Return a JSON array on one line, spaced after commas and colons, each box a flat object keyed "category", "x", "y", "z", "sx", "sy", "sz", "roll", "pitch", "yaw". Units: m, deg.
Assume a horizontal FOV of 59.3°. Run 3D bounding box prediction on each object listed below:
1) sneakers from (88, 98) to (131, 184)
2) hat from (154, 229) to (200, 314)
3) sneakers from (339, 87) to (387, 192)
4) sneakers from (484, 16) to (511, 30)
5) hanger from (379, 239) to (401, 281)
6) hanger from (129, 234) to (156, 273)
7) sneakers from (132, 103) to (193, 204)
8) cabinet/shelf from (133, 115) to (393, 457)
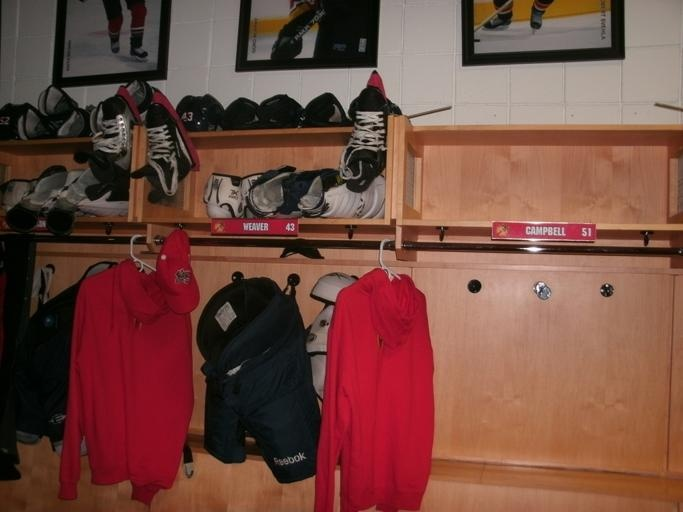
[{"category": "sneakers", "x": -1.048, "y": -0.538, "z": 2.786, "sx": 0.139, "sy": 0.453, "sz": 0.173, "roll": 5, "pitch": 11, "yaw": 17}, {"category": "hat", "x": -0.723, "y": 0.074, "z": 2.643, "sx": 0.179, "sy": 0.375, "sz": 0.139, "roll": 0, "pitch": 3, "yaw": -42}, {"category": "sneakers", "x": 0.095, "y": -0.481, "z": 2.608, "sx": 0.151, "sy": 0.471, "sz": 0.178, "roll": 5, "pitch": 12, "yaw": 11}, {"category": "sneakers", "x": 0.728, "y": -1.094, "z": 2.817, "sx": 0.118, "sy": 0.056, "sz": 0.046, "roll": 3, "pitch": 8, "yaw": 5}, {"category": "hanger", "x": 0.236, "y": 0.020, "z": 2.585, "sx": 0.099, "sy": 0.172, "sz": 0.161, "roll": -1, "pitch": -7, "yaw": 9}, {"category": "hanger", "x": -0.943, "y": 0.003, "z": 2.848, "sx": 0.175, "sy": 0.198, "sz": 0.046, "roll": 24, "pitch": 30, "yaw": 32}, {"category": "sneakers", "x": -0.808, "y": -0.481, "z": 2.720, "sx": 0.257, "sy": 0.393, "sz": 0.095, "roll": 2, "pitch": 2, "yaw": -3}, {"category": "cabinet/shelf", "x": -0.337, "y": 0.160, "z": 2.645, "sx": 1.428, "sy": 1.831, "sz": 0.565, "roll": -1, "pitch": -2, "yaw": 8}]
